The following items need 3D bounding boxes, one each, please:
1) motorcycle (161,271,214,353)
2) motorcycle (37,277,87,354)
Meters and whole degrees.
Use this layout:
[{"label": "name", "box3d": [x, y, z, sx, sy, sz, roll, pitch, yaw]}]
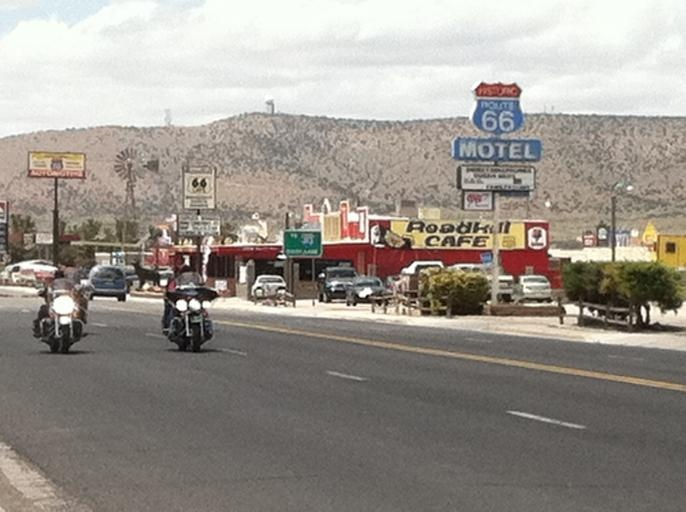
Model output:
[{"label": "motorcycle", "box3d": [-3.540, 1.251, 22.023, 1.153, 1.638, 1.809, 1, 0, -11]}, {"label": "motorcycle", "box3d": [-6.340, 1.361, 21.433, 1.035, 1.403, 1.562, 1, 0, -19]}]
